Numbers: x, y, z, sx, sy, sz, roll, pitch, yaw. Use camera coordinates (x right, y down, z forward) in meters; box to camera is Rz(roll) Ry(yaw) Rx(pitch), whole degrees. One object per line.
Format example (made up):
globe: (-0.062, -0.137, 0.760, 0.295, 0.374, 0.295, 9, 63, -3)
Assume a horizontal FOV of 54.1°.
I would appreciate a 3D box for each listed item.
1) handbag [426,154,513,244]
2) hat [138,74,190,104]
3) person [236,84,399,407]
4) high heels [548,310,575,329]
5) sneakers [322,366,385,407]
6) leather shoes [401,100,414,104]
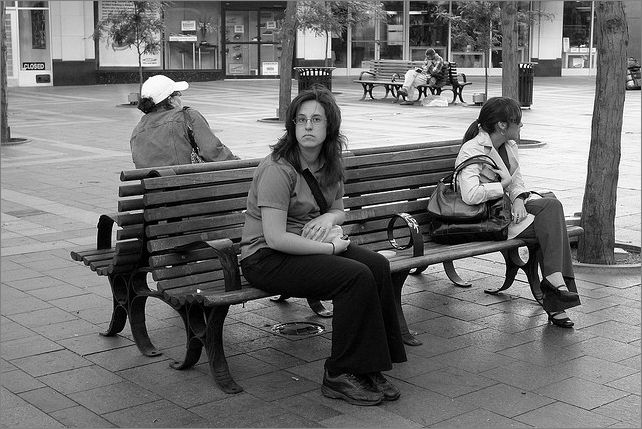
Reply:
handbag: (1.328, -0.128, 5.530, 0.812, 0.721, 0.397, -2, 13, 43)
hat: (-1.398, -1.127, 5.570, 0.379, 0.170, 0.256, -28, 32, -18)
person: (0.011, 0.115, 4.272, 1.097, 1.909, 0.627, 8, 15, 38)
high heels: (1.984, 0.878, 5.281, 0.102, 0.095, 0.277, -3, 4, -31)
sneakers: (0.205, 1.138, 4.176, 0.433, 0.189, 0.158, 6, 3, 29)
leather shoes: (3.150, -4.088, 23.086, 0.511, 0.173, 0.179, 4, 9, -5)
